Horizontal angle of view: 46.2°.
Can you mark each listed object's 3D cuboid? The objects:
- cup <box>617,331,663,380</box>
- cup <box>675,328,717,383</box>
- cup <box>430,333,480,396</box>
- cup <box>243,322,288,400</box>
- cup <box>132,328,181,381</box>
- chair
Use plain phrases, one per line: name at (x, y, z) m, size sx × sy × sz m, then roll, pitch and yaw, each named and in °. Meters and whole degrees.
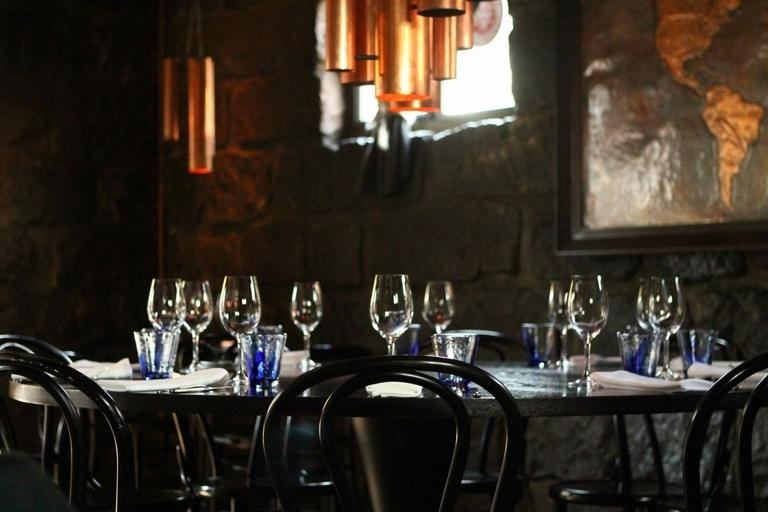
cup at (0.978, 0.378, 3.429) m, size 0.149 × 0.178 × 0.151 m, roll 0°, pitch -8°, yaw 0°
cup at (1.293, 0.403, 3.702) m, size 0.165 × 0.203 × 0.168 m, roll 0°, pitch -9°, yaw 0°
cup at (0.246, 0.401, 3.312) m, size 0.201 × 0.271 × 0.184 m, roll 0°, pitch -7°, yaw 0°
cup at (-0.445, 0.410, 3.409) m, size 0.179 × 0.223 × 0.185 m, roll 0°, pitch -13°, yaw 0°
cup at (-0.882, 0.385, 3.499) m, size 0.163 × 0.190 × 0.174 m, roll -1°, pitch -6°, yaw 0°
chair at (0.119, 0.594, 3.283) m, size 2.523 × 0.481 × 0.800 m, roll 0°, pitch -4°, yaw -10°
